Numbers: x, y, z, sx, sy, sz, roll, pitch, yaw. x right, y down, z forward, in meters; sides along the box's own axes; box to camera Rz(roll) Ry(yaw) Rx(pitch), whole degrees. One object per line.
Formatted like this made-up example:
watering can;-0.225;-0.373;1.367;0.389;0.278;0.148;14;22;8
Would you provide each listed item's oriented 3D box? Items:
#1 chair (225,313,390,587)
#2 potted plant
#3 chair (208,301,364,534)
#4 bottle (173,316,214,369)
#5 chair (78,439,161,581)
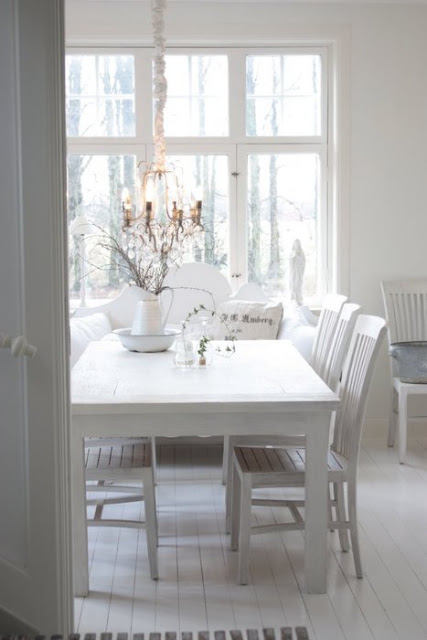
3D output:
chair;0.350;0.462;2.019;0.485;0.919;0.423;2;-1;2
potted plant;-0.301;-0.215;2.650;0.513;0.737;0.579;-5;-4;-32
chair;0.348;0.320;2.807;0.821;1.535;0.863;2;8;-1
bottle;-0.095;0.109;2.576;0.119;0.260;0.199;4;7;23
chair;-0.311;0.649;2.088;0.364;0.500;0.510;-1;4;-2
